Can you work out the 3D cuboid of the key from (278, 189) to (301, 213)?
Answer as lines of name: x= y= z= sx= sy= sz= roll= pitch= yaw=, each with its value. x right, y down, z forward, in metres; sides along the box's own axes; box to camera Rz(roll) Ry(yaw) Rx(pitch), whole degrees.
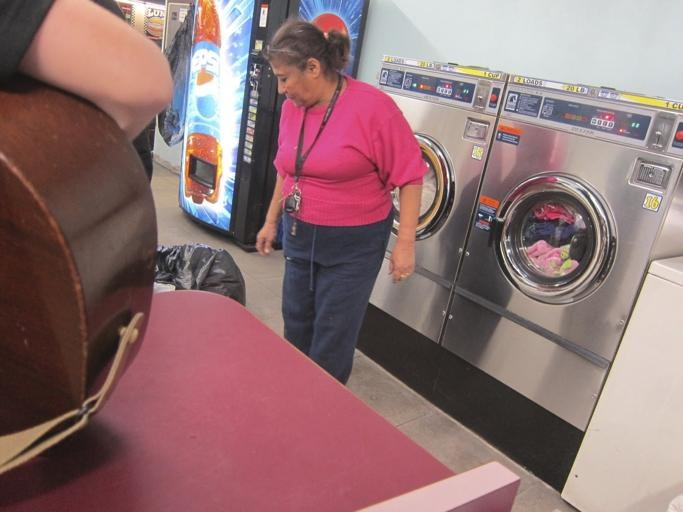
key: x=-0.201 y=-0.223 z=1.750 sx=0.073 sy=0.106 sz=0.049 roll=32 pitch=24 yaw=35

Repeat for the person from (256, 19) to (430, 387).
person: x=0.039 y=-0.231 z=1.894 sx=0.552 sy=1.645 sz=0.595 roll=26 pitch=24 yaw=30
